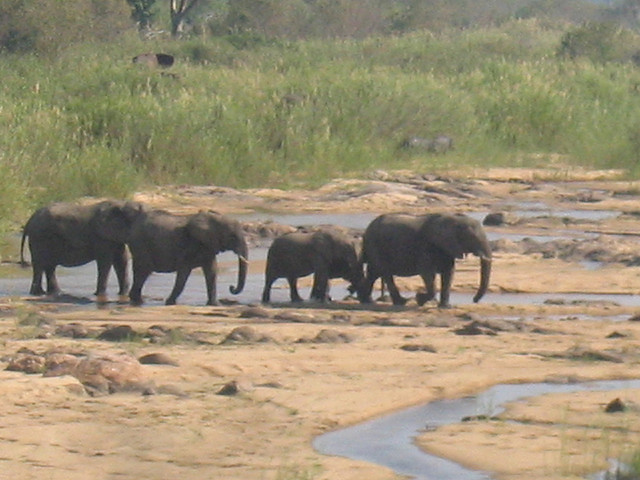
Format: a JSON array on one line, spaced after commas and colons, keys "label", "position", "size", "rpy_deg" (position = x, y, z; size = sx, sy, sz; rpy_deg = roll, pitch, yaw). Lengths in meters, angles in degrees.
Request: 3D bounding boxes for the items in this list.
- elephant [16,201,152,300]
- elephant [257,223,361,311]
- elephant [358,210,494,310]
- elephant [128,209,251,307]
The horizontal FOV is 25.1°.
[{"label": "elephant", "position": [-4.526, 0.245, 30.102], "size": [3.478, 1.884, 1.145], "rpy_deg": [0, -1, 9]}, {"label": "elephant", "position": [0.005, 0.578, 30.130], "size": [2.628, 1.475, 1.167], "rpy_deg": [2, 1, 18]}, {"label": "elephant", "position": [2.277, 0.470, 29.926], "size": [3.132, 2.007, 1.236], "rpy_deg": [2, 8, 25]}, {"label": "elephant", "position": [-2.752, 0.379, 29.468], "size": [2.355, 1.976, 0.872], "rpy_deg": [3, 8, -8]}]
